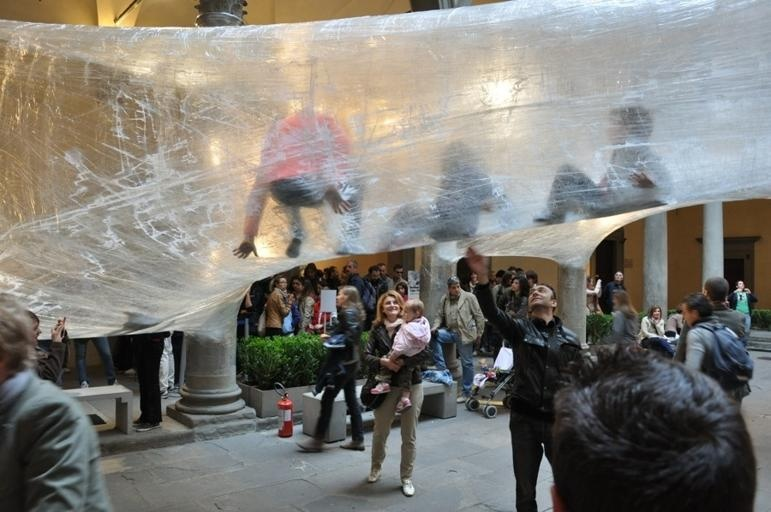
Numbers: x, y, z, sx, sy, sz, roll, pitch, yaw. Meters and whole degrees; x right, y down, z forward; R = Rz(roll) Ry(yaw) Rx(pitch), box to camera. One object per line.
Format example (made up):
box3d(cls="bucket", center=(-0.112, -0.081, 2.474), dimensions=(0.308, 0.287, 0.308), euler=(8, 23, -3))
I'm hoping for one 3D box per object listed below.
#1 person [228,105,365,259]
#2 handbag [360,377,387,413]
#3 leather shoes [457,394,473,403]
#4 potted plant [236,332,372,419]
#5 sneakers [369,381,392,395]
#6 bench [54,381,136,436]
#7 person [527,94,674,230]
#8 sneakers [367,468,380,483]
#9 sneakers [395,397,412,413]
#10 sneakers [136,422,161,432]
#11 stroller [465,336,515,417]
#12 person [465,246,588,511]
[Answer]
box3d(cls="person", center=(-0.563, -0.590, 4.539), dimensions=(0.918, 1.184, 0.773), euler=(-4, -10, 16))
box3d(cls="handbag", center=(-0.112, 1.448, 6.457), dimensions=(0.344, 0.197, 0.321), euler=(-6, -30, -29))
box3d(cls="leather shoes", center=(1.224, 2.248, 9.759), dimensions=(0.339, 0.131, 0.112), euler=(9, -13, -37))
box3d(cls="potted plant", center=(-1.505, 1.686, 9.266), dimensions=(1.171, 0.624, 1.466), euler=(-4, 3, 2))
box3d(cls="sneakers", center=(-0.050, 1.375, 6.407), dimensions=(0.210, 0.086, 0.093), euler=(1, -4, -10))
box3d(cls="bench", center=(-3.430, 2.020, 7.715), dimensions=(0.963, 0.542, 0.502), euler=(-8, -23, 18))
box3d(cls="person", center=(1.515, -0.622, 4.331), dimensions=(0.974, 0.719, 0.688), euler=(-5, -4, 22))
box3d(cls="sneakers", center=(-0.122, 2.276, 6.513), dimensions=(0.140, 0.142, 0.272), euler=(0, 4, 2))
box3d(cls="sneakers", center=(0.173, 1.538, 6.394), dimensions=(0.096, 0.102, 0.218), euler=(-12, -16, -45))
box3d(cls="sneakers", center=(-2.992, 2.128, 7.742), dimensions=(0.275, 0.096, 0.095), euler=(10, -9, -29))
box3d(cls="stroller", center=(1.638, 1.813, 9.077), dimensions=(0.844, 0.887, 0.589), euler=(-5, -6, -23))
box3d(cls="person", center=(1.125, 0.902, 4.815), dimensions=(0.948, 1.958, 0.652), euler=(-4, 6, -40))
